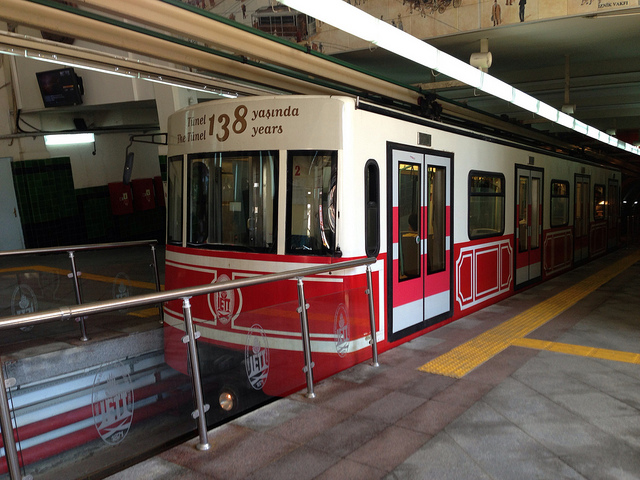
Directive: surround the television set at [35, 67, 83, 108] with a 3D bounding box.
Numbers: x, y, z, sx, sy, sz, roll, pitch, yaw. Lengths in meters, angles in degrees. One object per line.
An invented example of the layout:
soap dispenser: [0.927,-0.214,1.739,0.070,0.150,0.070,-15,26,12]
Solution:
television set: [-8.388,-4.848,14.181,0.158,1.124,1.457,1,23,18]
